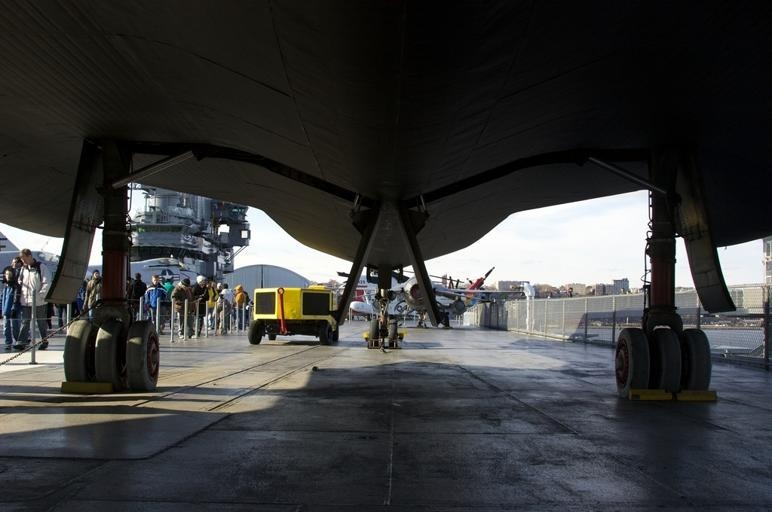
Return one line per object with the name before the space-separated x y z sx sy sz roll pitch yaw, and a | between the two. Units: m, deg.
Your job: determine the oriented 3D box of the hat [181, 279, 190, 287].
hat | -6.990 0.944 20.042 0.241 0.310 0.315 7 -18 -8
